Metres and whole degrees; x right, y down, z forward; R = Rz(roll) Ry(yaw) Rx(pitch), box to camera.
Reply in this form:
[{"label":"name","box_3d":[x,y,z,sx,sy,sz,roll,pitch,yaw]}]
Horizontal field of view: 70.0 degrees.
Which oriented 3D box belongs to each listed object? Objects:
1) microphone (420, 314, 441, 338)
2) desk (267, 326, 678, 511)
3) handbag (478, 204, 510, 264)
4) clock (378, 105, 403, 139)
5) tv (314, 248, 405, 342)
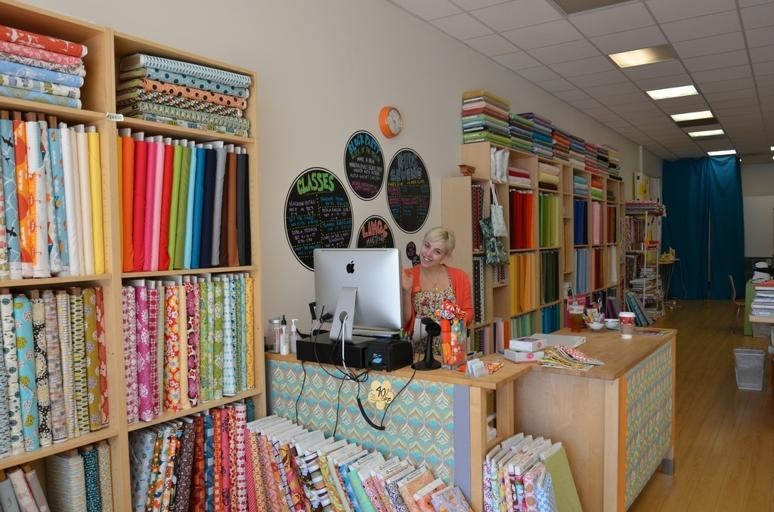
[{"label":"microphone","box_3d":[0.275,0.442,3.500,0.117,0.122,0.207,0,0,-7]},{"label":"desk","box_3d":[0.465,1.045,3.495,1.322,0.578,1.350,2,4,36]},{"label":"handbag","box_3d":[1.100,-0.189,5.731,0.374,0.513,0.116,0,0,-39]},{"label":"clock","box_3d":[0.030,-1.224,5.077,0.079,0.282,0.274,0,0,33]},{"label":"tv","box_3d":[-0.246,0.249,3.598,0.693,0.603,0.220,1,8,31]}]
